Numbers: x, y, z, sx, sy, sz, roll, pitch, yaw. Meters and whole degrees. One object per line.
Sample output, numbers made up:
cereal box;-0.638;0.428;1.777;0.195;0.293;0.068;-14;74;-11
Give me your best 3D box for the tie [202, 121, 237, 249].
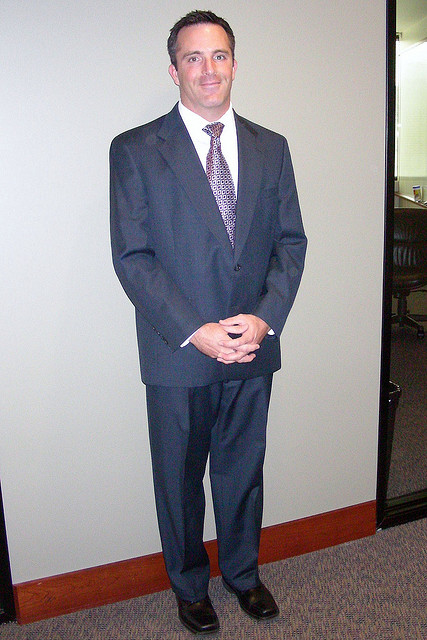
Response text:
tie;0.014;-0.364;1.386;0.059;0.379;0.049;-5;1;-18
